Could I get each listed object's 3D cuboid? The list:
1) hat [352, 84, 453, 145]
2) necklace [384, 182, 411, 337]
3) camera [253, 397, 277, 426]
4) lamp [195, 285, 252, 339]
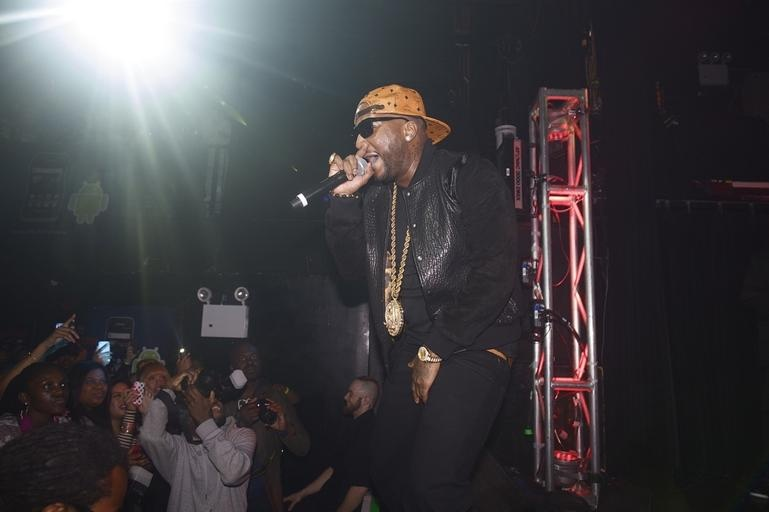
[{"bbox_3d":[0.153,-1.290,5.143,0.655,0.292,0.640,10,-13,-17],"label":"hat"},{"bbox_3d":[0.137,0.133,4.890,0.076,0.942,0.310,5,-10,6],"label":"necklace"},{"bbox_3d":[-1.506,1.979,7.217,0.302,0.296,0.116,-2,-13,-13],"label":"camera"},{"bbox_3d":[-2.113,0.750,7.570,0.703,0.687,0.230,0,-8,1],"label":"lamp"}]
